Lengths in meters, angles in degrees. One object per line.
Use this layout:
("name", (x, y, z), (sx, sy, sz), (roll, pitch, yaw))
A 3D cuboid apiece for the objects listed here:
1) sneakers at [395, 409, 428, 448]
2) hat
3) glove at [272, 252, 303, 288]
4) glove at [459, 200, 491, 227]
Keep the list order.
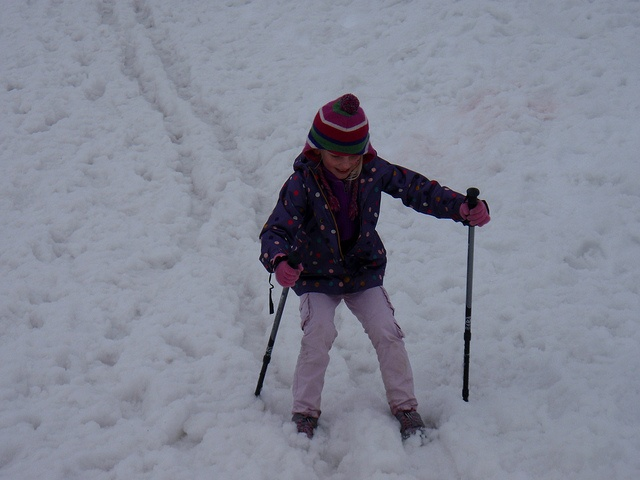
("sneakers", (0.984, 1.991, 11.612), (0.249, 0.633, 0.303), (-8, 87, 1))
("hat", (0.231, -1.003, 11.544), (0.741, 1.370, 0.769), (1, 28, -4))
("glove", (-0.342, 0.369, 11.171), (0.290, 0.168, 0.453), (1, 52, -43))
("glove", (1.676, -0.307, 11.443), (0.314, 0.275, 0.199), (-2, 44, 7))
